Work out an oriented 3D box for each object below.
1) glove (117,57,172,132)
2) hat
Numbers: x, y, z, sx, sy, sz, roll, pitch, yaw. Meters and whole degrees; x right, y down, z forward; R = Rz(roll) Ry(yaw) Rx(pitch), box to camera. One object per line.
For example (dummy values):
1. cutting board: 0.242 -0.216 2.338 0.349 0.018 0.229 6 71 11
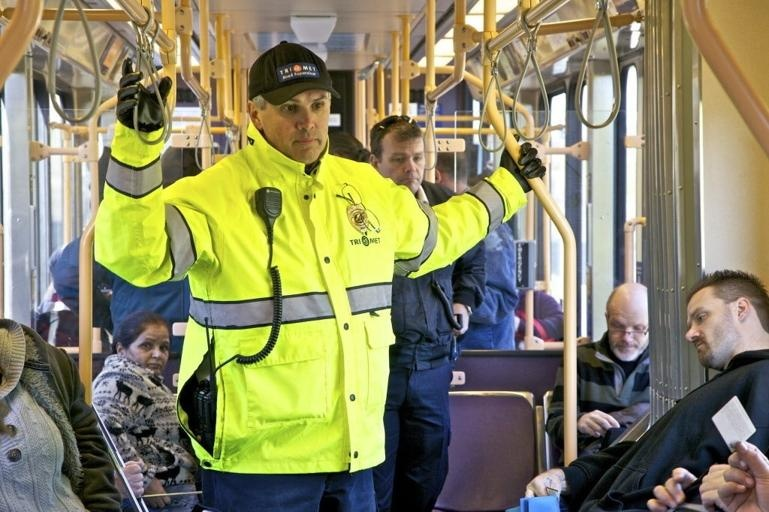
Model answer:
1. glove: -1.036 -0.661 4.224 0.200 0.323 0.139 1 4 -25
2. hat: -0.439 -0.853 4.748 0.362 0.330 0.507 -8 6 -28
